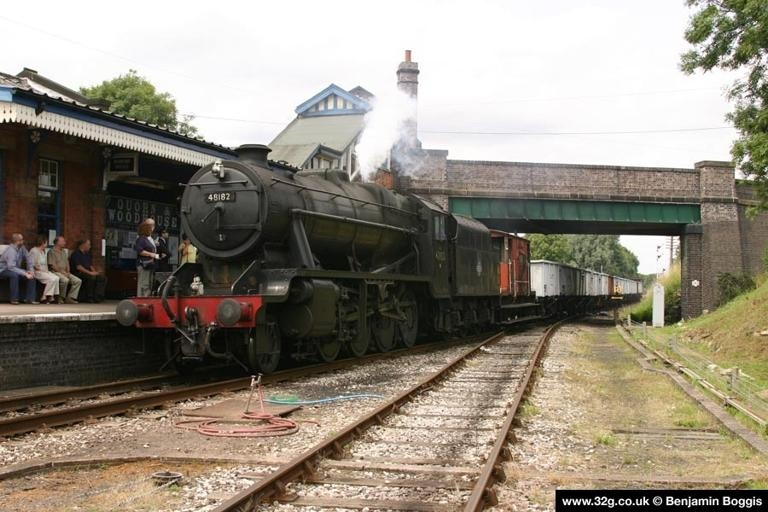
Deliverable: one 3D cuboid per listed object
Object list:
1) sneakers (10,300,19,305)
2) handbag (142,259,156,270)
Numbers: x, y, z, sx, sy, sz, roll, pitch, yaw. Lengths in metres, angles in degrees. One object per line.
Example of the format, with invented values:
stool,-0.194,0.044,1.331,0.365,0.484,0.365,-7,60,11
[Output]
sneakers,-8.039,1.021,14.568,0.110,0.083,0.287,1,-2,-19
handbag,-5.288,0.200,15.105,0.251,0.175,0.215,-11,7,-31
